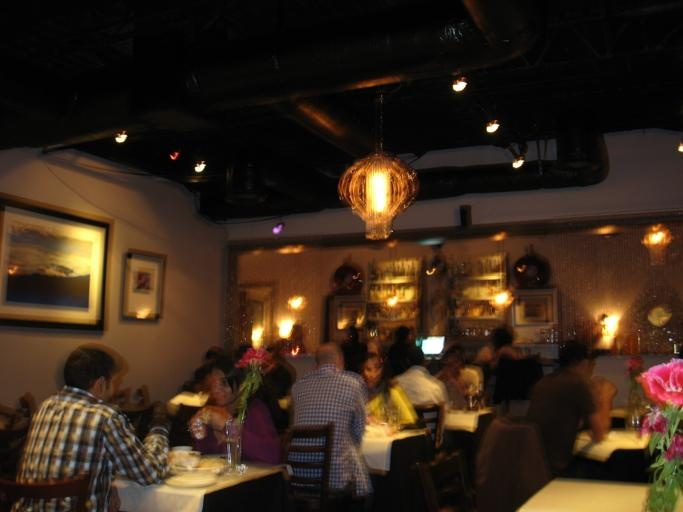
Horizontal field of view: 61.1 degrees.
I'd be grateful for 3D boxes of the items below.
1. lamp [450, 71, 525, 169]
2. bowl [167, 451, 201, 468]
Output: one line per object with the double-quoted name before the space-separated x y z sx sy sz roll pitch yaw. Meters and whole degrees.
"lamp" 1.588 -1.463 6.191 0.153 0.151 0.784 -37 -71 22
"bowl" -1.015 1.312 3.746 0.124 0.058 0.115 2 -10 0
